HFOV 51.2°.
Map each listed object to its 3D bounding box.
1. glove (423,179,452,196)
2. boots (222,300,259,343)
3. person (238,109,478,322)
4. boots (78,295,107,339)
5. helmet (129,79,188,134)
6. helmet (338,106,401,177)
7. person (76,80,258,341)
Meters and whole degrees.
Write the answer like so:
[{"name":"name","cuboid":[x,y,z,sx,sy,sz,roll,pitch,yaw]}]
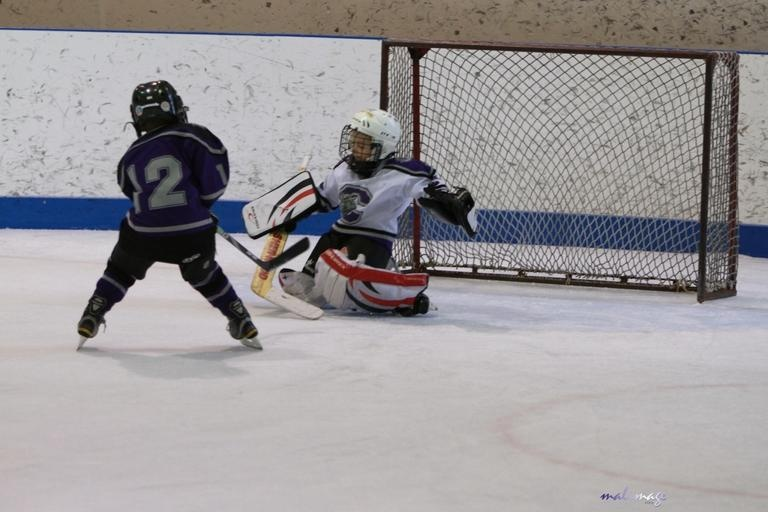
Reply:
[{"name":"glove","cuboid":[0.250,-0.330,3.917,0.114,0.036,0.098,0,24,0]},{"name":"boots","cuboid":[-0.592,0.254,3.279,0.104,0.182,0.209,-26,9,-30]},{"name":"person","cuboid":[-0.193,-0.200,4.085,1.326,0.907,0.681,12,22,35]},{"name":"boots","cuboid":[-1.138,0.243,3.116,0.087,0.182,0.101,7,12,13]},{"name":"helmet","cuboid":[-0.949,-0.611,3.310,0.234,0.195,0.246,-9,2,-2]},{"name":"helmet","cuboid":[-0.064,-0.586,4.029,0.325,0.264,0.225,-2,19,-29]},{"name":"person","cuboid":[-0.839,-0.077,3.184,0.698,0.892,0.249,1,12,-11]}]
